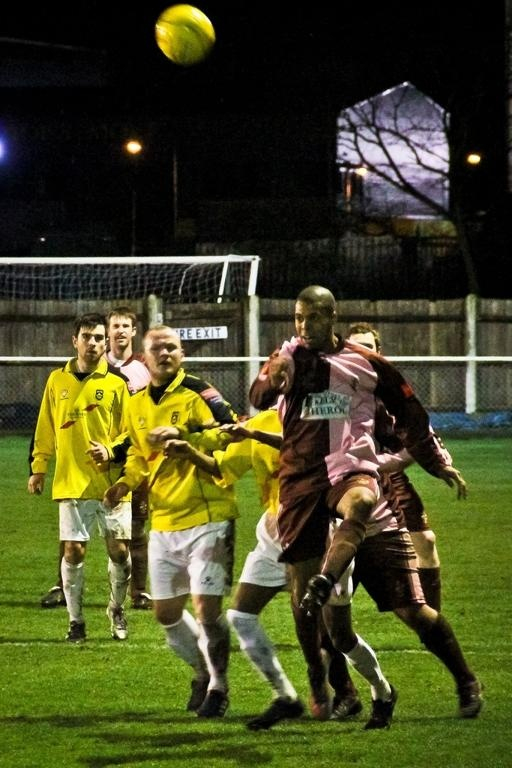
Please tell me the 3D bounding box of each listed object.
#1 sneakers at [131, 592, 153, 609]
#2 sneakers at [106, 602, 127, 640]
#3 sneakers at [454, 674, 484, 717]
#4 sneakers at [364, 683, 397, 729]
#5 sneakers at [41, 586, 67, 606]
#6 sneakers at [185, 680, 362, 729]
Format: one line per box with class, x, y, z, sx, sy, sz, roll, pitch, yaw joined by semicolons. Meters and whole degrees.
sneakers;-0.767;1.463;6.851;0.156;0.092;0.078;-3;-1;26
sneakers;-0.820;1.401;6.019;0.087;0.229;0.113;-7;-17;-37
sneakers;0.919;1.325;4.365;0.134;0.174;0.098;14;-13;-42
sneakers;0.525;1.357;4.311;0.160;0.175;0.126;0;-4;-20
sneakers;-1.360;1.454;6.940;0.088;0.097;0.239;-1;-9;6
sneakers;0.076;1.389;4.405;0.577;0.223;0.173;-16;-14;14
